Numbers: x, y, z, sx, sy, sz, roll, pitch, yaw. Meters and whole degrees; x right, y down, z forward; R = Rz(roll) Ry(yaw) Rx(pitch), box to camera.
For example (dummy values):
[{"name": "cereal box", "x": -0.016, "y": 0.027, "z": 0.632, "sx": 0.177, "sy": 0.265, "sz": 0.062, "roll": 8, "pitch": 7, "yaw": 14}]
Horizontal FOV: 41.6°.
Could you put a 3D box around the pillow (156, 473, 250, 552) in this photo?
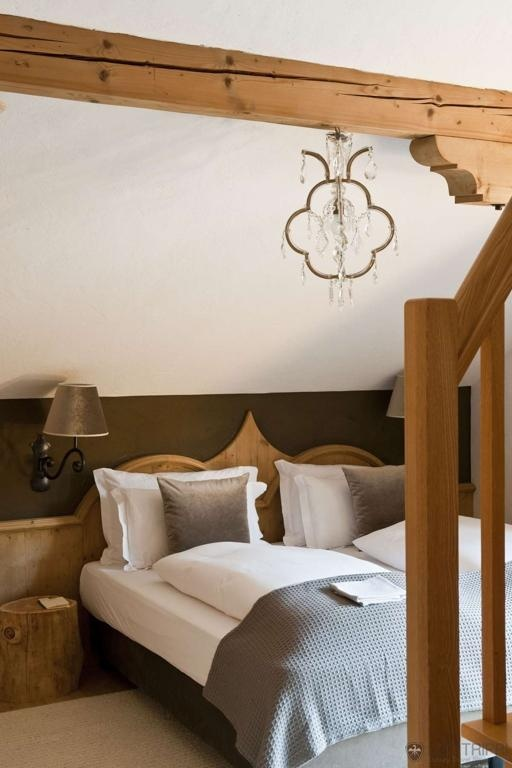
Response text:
[{"name": "pillow", "x": -0.286, "y": 0.680, "z": 3.492, "sx": 0.340, "sy": 0.312, "sz": 0.114, "roll": -3, "pitch": -20, "yaw": -22}]

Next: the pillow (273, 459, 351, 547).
[{"name": "pillow", "x": 0.411, "y": 0.754, "z": 4.099, "sx": 0.293, "sy": 0.530, "sz": 0.593, "roll": -6, "pitch": -10, "yaw": 39}]

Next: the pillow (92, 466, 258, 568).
[{"name": "pillow", "x": -0.376, "y": 0.737, "z": 3.740, "sx": 0.823, "sy": 0.500, "sz": 0.270, "roll": 1, "pitch": -16, "yaw": -28}]

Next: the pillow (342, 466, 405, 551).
[{"name": "pillow", "x": 0.730, "y": 0.668, "z": 4.027, "sx": 0.209, "sy": 0.378, "sz": 0.560, "roll": 17, "pitch": 13, "yaw": 40}]

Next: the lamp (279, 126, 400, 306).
[{"name": "lamp", "x": 0.294, "y": -0.607, "z": 2.396, "sx": 0.415, "sy": 0.624, "sz": 0.406, "roll": -2, "pitch": 8, "yaw": -1}]

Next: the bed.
[{"name": "bed", "x": -0.161, "y": 0.616, "z": 3.222, "sx": 1.458, "sy": 0.900, "sz": 1.357, "roll": -3, "pitch": 6, "yaw": -29}]

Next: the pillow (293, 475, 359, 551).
[{"name": "pillow", "x": 0.407, "y": 0.744, "z": 3.916, "sx": 0.402, "sy": 0.371, "sz": 0.117, "roll": 6, "pitch": -21, "yaw": -27}]

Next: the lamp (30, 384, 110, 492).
[{"name": "lamp", "x": -0.961, "y": 0.305, "z": 3.487, "sx": 0.394, "sy": 0.581, "sz": 0.311, "roll": 2, "pitch": 4, "yaw": 13}]
